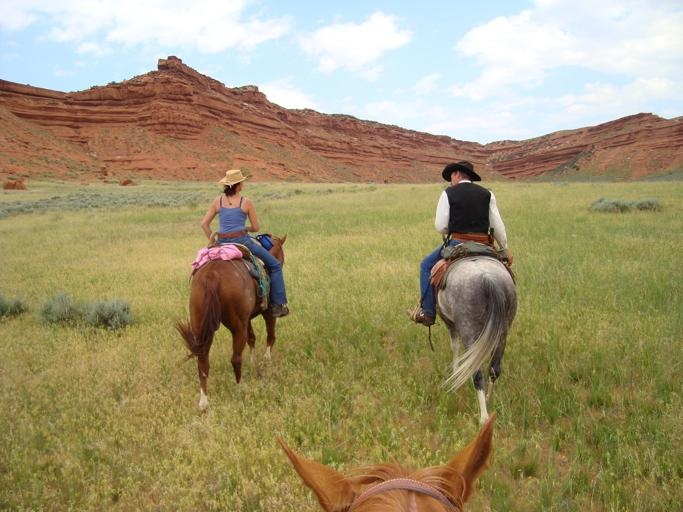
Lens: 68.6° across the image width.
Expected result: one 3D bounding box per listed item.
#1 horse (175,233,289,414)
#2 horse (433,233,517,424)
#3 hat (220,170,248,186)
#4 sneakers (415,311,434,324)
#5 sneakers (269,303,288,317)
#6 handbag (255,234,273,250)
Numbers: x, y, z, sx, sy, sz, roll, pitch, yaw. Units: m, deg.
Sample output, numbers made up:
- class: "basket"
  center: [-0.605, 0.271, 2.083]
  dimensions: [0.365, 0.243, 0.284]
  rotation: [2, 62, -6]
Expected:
- class: "horse"
  center: [-2.066, 1.214, 10.979]
  dimensions: [1.144, 3.344, 4.726]
  rotation: [3, 6, 10]
- class: "horse"
  center: [2.384, 1.372, 8.776]
  dimensions: [1.209, 2.911, 1.610]
  rotation: [0, 13, -7]
- class: "hat"
  center: [-2.120, -1.611, 10.259]
  dimensions: [0.475, 0.228, 0.574]
  rotation: [8, 22, 27]
- class: "sneakers"
  center: [1.643, 1.232, 9.996]
  dimensions: [0.294, 0.138, 0.228]
  rotation: [16, 19, 27]
- class: "sneakers"
  center: [-1.308, 1.165, 10.762]
  dimensions: [0.470, 0.231, 0.179]
  rotation: [-6, 10, 0]
- class: "handbag"
  center: [-1.702, -0.319, 11.277]
  dimensions: [0.276, 0.392, 0.158]
  rotation: [-15, 4, -39]
